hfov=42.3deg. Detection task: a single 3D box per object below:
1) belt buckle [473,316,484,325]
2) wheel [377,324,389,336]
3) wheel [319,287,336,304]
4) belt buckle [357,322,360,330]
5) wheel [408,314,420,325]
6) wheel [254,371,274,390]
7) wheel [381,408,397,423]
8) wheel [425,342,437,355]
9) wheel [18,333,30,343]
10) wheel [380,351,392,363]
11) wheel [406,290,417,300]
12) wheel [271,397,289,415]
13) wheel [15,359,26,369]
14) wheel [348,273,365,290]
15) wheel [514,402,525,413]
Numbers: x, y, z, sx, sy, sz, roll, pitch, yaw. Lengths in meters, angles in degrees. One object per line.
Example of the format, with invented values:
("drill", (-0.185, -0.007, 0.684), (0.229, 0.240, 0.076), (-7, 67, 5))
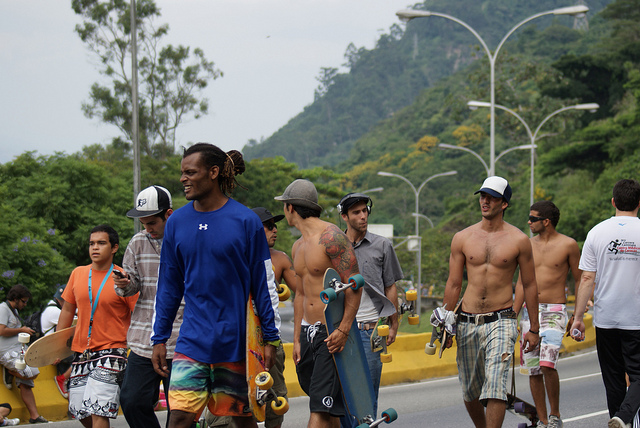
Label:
("belt buckle", (2.681, 1.789, 14.027), (0.122, 0.109, 0.135), (2, -5, 9))
("wheel", (1.058, 1.955, 14.034), (0.151, 0.142, 0.165), (-2, -8, 0))
("wheel", (0.095, 1.269, 12.876), (0.197, 0.239, 0.250), (-16, -5, 36))
("belt buckle", (0.649, 1.876, 14.049), (0.057, 0.122, 0.031), (-2, -14, 3))
("wheel", (1.666, 1.906, 14.983), (0.208, 0.156, 0.222), (0, -4, 0))
("wheel", (-0.841, 2.446, 12.280), (0.263, 0.312, 0.186), (-17, -47, 4))
("wheel", (1.099, 3.192, 13.301), (0.188, 0.232, 0.234), (-7, 1, 37))
("wheel", (1.898, 2.300, 14.315), (0.179, 0.152, 0.184), (7, 2, 0))
("wheel", (-5.268, 2.167, 14.638), (0.165, 0.113, 0.163), (4, 4, 0))
("wheel", (1.139, 2.461, 14.301), (0.160, 0.130, 0.157), (-1, -5, 0))
("wheel", (1.646, 1.454, 14.945), (0.149, 0.125, 0.164), (0, -6, 0))
("wheel", (-0.581, 2.908, 12.511), (0.240, 0.273, 0.304), (-23, -18, -19))
("wheel", (-5.208, 2.595, 14.346), (0.191, 0.139, 0.207), (4, 5, 0))
("wheel", (0.580, 1.045, 13.035), (0.193, 0.240, 0.255), (-11, 0, 28))
("wheel", (3.426, 3.295, 14.228), (0.164, 0.196, 0.159), (0, 6, 0))
